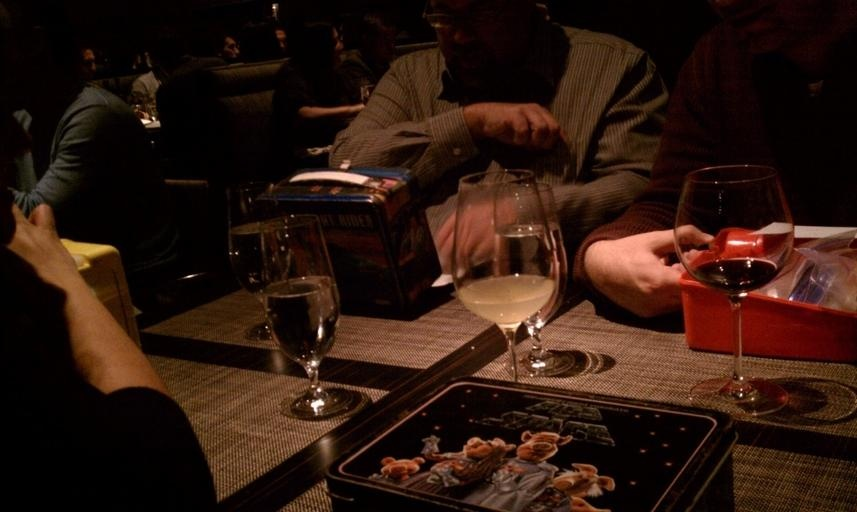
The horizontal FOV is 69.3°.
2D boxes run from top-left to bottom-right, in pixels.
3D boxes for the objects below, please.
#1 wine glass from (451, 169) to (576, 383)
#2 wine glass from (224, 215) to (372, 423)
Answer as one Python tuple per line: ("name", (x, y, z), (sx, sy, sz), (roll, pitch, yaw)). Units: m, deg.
("wine glass", (0.160, 0.032, 1.242), (0.194, 0.384, 0.291), (-1, 19, 11))
("wine glass", (-0.243, 0.115, 1.233), (0.160, 0.352, 0.269), (-11, 20, -18))
